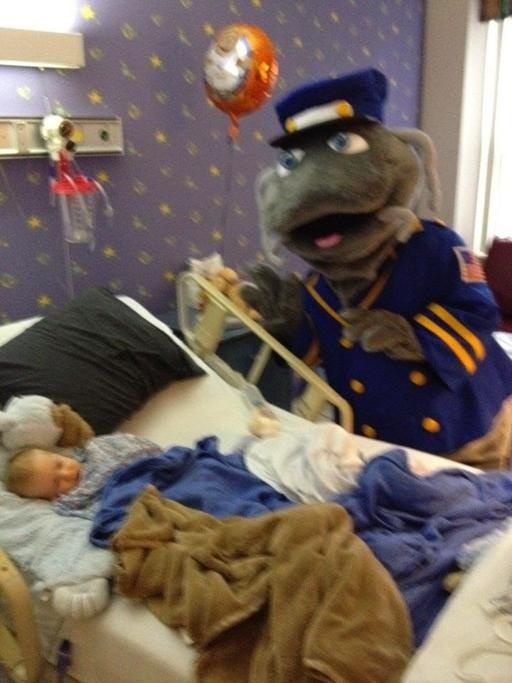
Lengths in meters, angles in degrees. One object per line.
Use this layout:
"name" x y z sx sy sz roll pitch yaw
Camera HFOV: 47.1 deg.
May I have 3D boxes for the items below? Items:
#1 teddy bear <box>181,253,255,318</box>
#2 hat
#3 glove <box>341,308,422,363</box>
"teddy bear" -0.065 -0.180 1.786 0.104 0.158 0.329 -18 -9 -4
"hat" 0.186 -0.545 1.461 0.244 0.081 0.202 -6 12 19
"glove" 0.332 -0.010 1.544 0.211 0.050 0.111 7 14 29
